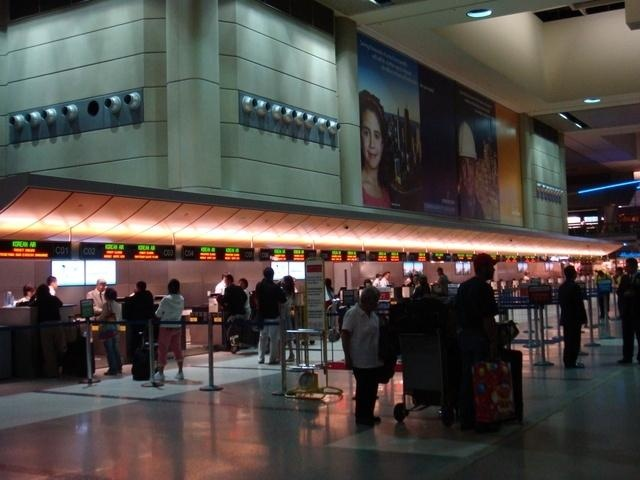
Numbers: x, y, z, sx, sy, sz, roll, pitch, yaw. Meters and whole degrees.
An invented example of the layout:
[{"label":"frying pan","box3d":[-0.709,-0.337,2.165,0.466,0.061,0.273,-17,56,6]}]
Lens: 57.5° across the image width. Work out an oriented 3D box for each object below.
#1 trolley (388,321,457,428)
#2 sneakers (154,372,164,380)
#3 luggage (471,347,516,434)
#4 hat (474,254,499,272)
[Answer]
[{"label":"trolley","box3d":[1.496,1.889,8.251,0.786,1.215,0.956,-5,-6,27]},{"label":"sneakers","box3d":[-3.235,2.740,11.731,0.110,0.141,0.307,4,-12,-23]},{"label":"luggage","box3d":[2.284,1.957,7.601,0.223,0.755,0.728,-12,-16,41]},{"label":"hat","box3d":[2.246,0.311,7.846,0.271,0.174,0.193,-5,2,-20]}]
